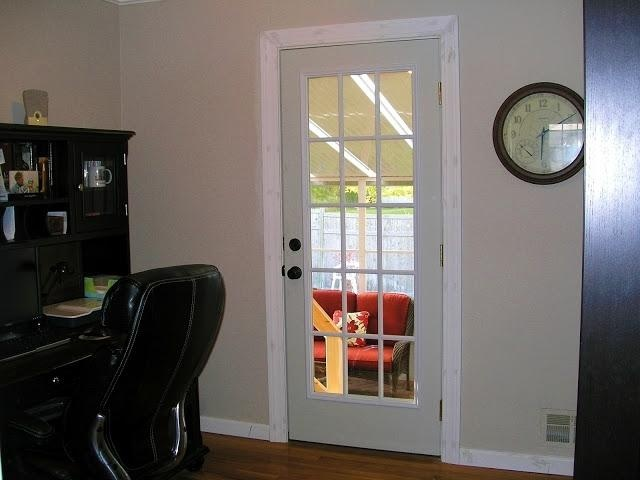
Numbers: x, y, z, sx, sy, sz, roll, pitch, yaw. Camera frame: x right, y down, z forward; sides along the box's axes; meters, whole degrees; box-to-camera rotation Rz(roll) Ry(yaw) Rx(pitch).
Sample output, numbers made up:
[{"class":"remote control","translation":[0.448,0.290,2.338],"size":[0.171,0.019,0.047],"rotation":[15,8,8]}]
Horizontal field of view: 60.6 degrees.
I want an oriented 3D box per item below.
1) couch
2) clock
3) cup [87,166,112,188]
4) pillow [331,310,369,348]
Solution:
[{"class":"couch","translation":[0.262,0.536,3.002],"size":[0.527,0.500,0.235],"rotation":[0,-1,13]},{"class":"clock","translation":[1.088,-0.519,2.690],"size":[0.437,0.512,0.049],"rotation":[0,-10,16]},{"class":"cup","translation":[-1.137,-0.326,2.815],"size":[0.102,0.100,0.069],"rotation":[0,3,-16]},{"class":"pillow","translation":[0.170,0.484,3.025],"size":[0.181,0.190,0.068],"rotation":[1,7,24]}]
